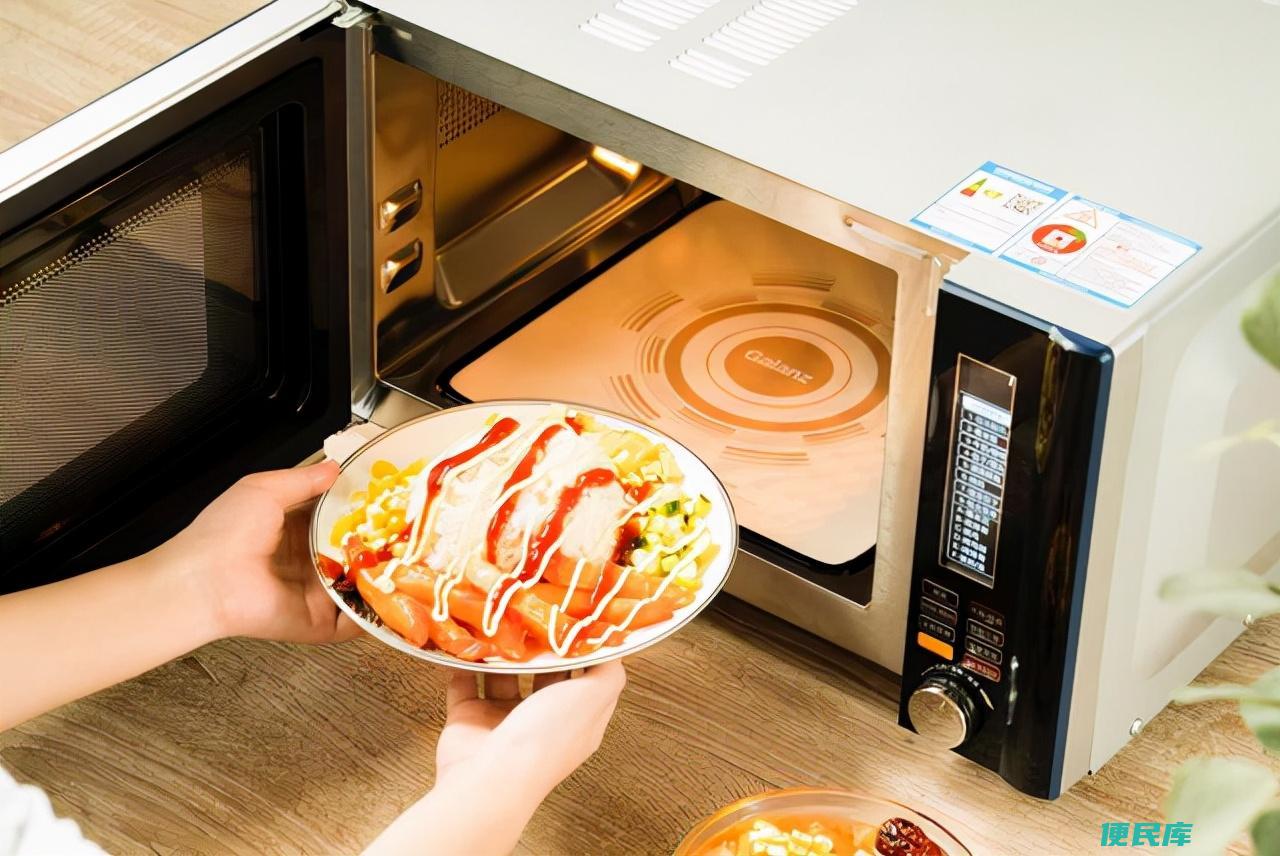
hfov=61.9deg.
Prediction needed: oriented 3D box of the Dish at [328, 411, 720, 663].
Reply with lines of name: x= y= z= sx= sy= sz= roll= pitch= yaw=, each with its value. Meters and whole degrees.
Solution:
Dish: x=-0.102 y=0.063 z=0.823 sx=0.252 sy=0.067 sz=0.255 roll=20 pitch=44 yaw=19
